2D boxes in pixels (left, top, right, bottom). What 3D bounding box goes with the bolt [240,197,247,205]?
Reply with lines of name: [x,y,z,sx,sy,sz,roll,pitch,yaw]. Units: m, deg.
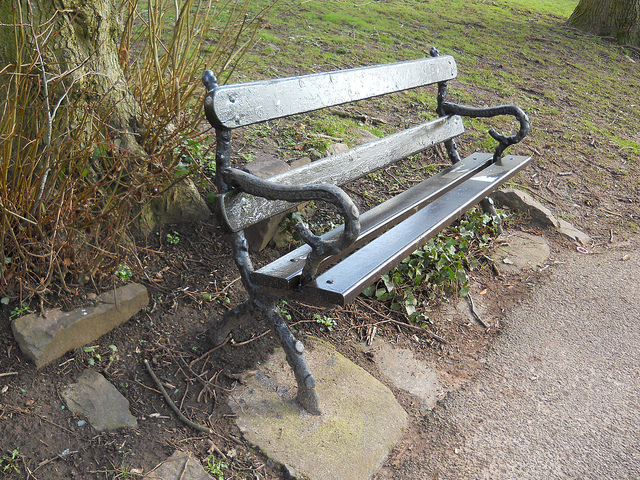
bolt: [-0.411,-0.209,2.828,0.023,0.030,0.056,15,24,21]

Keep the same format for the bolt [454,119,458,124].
bolt: [1.140,-0.986,4.363,0.053,0.031,0.021,-20,50,-39]

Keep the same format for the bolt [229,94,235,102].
bolt: [-0.437,-0.709,2.619,0.030,0.033,0.017,-16,47,-36]

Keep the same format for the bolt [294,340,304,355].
bolt: [-0.112,0.570,2.792,0.054,0.060,0.059,8,38,-12]

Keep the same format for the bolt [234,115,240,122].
bolt: [-0.420,-0.615,2.653,0.025,0.026,0.031,3,79,1]
